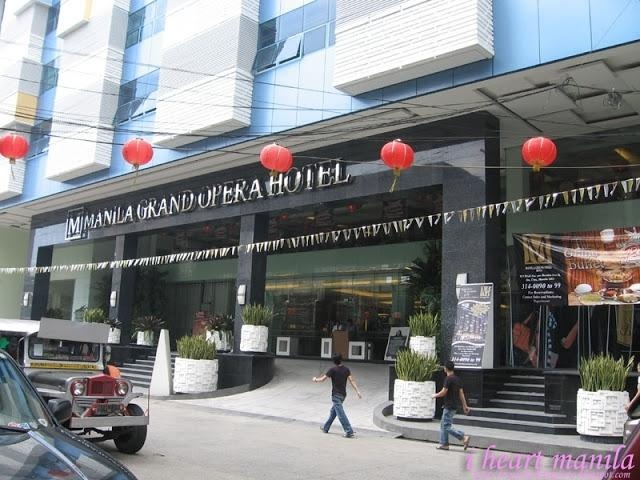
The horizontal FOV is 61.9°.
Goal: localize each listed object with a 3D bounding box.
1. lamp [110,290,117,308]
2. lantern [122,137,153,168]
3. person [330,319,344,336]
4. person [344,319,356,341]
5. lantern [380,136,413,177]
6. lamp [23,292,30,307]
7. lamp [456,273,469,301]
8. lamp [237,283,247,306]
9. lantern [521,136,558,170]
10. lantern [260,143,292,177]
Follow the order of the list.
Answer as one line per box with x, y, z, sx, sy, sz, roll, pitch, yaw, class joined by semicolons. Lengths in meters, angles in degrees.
-9.676;2.797;25.033;0.123;0.760;0.457;10;-14;-43;lamp
-5.556;-2.651;16.047;0.997;1.061;0.957;0;0;-3;lantern
0.816;4.242;25.623;0.597;0.524;1.657;-7;11;4;person
1.457;4.381;26.003;0.716;0.998;0.315;-6;-12;30;person
1.967;-2.052;13.430;0.973;1.014;0.929;4;-1;-19;lantern
-16.003;3.258;29.032;0.605;0.792;0.139;-8;-13;40;lamp
4.156;1.321;15.646;0.347;0.741;0.648;-2;-10;14;lamp
-3.006;2.103;20.432;0.395;0.795;0.147;-4;-11;21;lamp
5.081;-2.046;12.380;0.685;0.848;0.518;-1;-10;6;lantern
-1.109;-2.131;14.300;0.894;0.899;0.827;7;-1;-13;lantern
